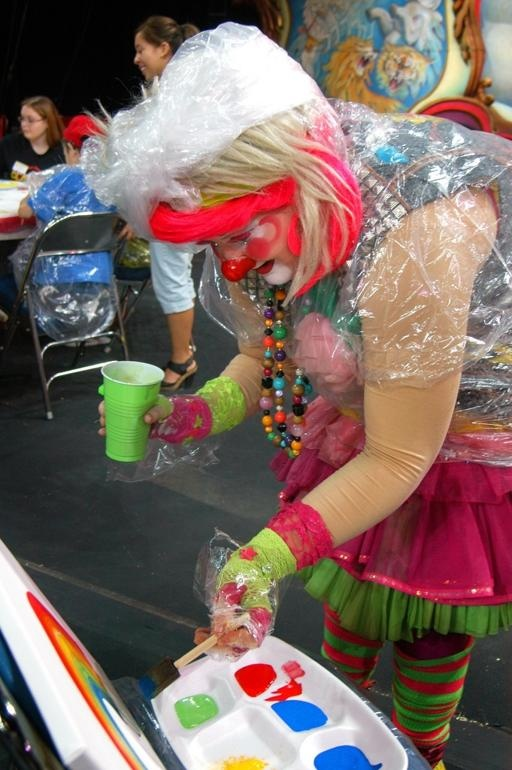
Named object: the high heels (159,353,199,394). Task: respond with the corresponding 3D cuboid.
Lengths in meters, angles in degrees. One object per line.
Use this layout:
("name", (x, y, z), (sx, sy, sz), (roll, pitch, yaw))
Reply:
("high heels", (-0.406, -0.056, 3.110), (0.138, 0.164, 0.314), (13, 18, 37))

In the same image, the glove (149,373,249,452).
("glove", (-0.099, 0.046, 1.109), (0.189, 0.077, 0.102), (-1, 43, 38))

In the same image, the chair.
("chair", (-0.900, -0.333, 2.695), (0.548, 1.000, 0.549), (-24, 62, -32))

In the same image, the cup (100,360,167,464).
("cup", (-0.243, 0.065, 1.115), (0.128, 0.147, 0.114), (5, 4, -2))
